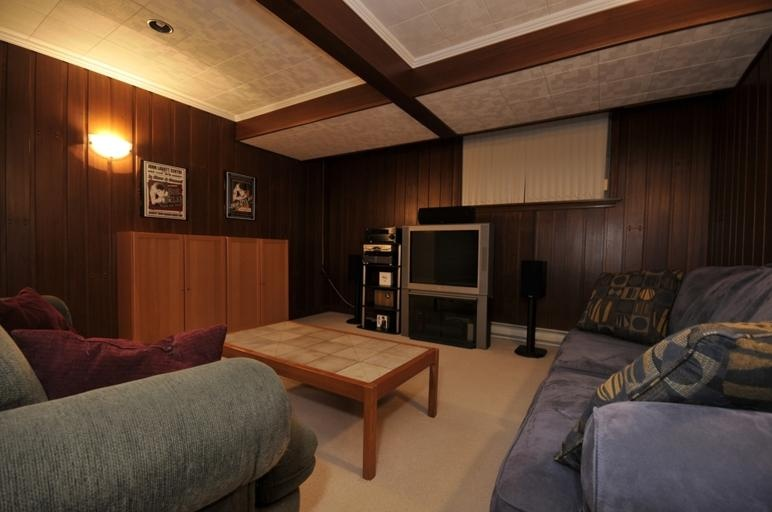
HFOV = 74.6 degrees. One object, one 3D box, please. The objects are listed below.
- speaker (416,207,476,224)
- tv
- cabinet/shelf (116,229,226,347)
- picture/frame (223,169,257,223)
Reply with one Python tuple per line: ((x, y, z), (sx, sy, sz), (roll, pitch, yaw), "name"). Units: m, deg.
((0.742, -0.507, 6.389), (0.735, 0.222, 0.342), (1, 3, 12), "speaker")
((0.781, 0.056, 6.063), (0.921, 0.768, 0.326), (-1, 1, 34), "tv")
((-2.216, 0.317, 5.066), (0.455, 1.373, 1.173), (-2, -3, 33), "cabinet/shelf")
((-1.863, -0.745, 6.345), (0.061, 0.773, 0.709), (-3, -4, 26), "picture/frame")
